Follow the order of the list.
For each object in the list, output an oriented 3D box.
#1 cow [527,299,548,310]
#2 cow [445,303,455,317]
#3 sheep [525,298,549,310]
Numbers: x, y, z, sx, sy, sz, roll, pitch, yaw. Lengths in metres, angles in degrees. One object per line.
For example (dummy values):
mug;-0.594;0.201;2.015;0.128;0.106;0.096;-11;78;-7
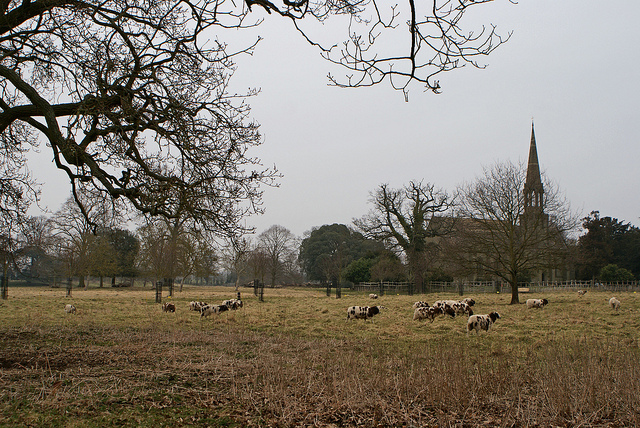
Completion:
cow;13.419;5.498;49.413;1.013;0.487;1.824;2;2;30
cow;7.367;5.430;45.382;0.806;0.600;0.599;3;2;42
sheep;13.400;5.560;49.441;1.573;0.786;0.578;2;-3;-14
